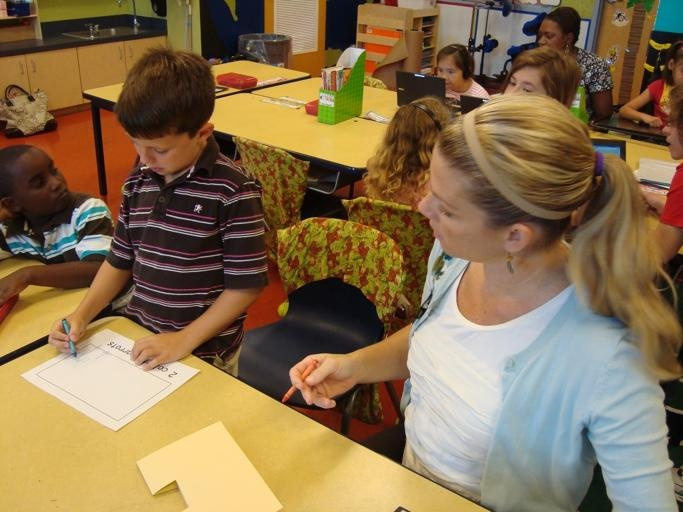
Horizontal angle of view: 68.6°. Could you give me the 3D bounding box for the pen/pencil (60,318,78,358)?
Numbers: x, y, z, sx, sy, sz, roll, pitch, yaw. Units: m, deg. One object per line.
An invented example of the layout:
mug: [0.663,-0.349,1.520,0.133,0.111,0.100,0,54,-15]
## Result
pen/pencil: [-0.790,0.243,1.460,0.014,0.014,0.103,-28,66,11]
